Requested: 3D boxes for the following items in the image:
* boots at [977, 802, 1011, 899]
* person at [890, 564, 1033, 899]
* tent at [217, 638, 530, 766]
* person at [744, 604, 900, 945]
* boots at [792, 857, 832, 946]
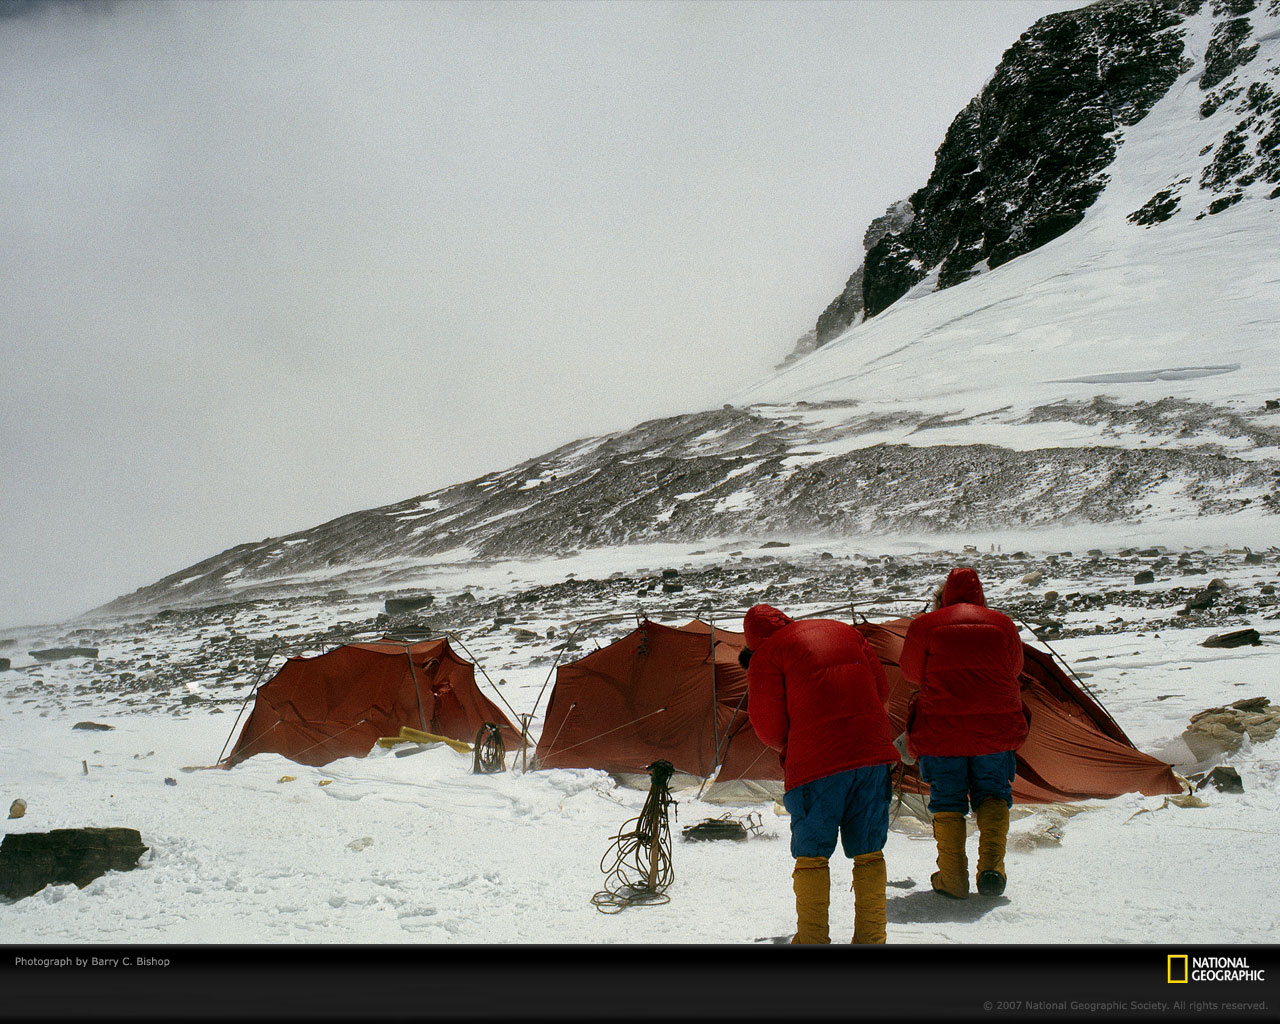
[{"bbox_3d":[2.259,2.157,7.832,0.243,0.584,0.196,-1,-4,-6],"label":"boots"},{"bbox_3d":[2.101,1.417,7.916,0.752,2.106,0.376,-3,-4,13],"label":"person"},{"bbox_3d":[-2.562,1.756,11.562,2.316,0.956,1.169,0,-4,-19],"label":"tent"},{"bbox_3d":[1.082,1.584,7.178,0.842,1.888,0.244,-2,-4,4],"label":"person"},{"bbox_3d":[1.008,2.283,7.196,0.190,0.502,0.169,-2,-4,8],"label":"boots"}]
